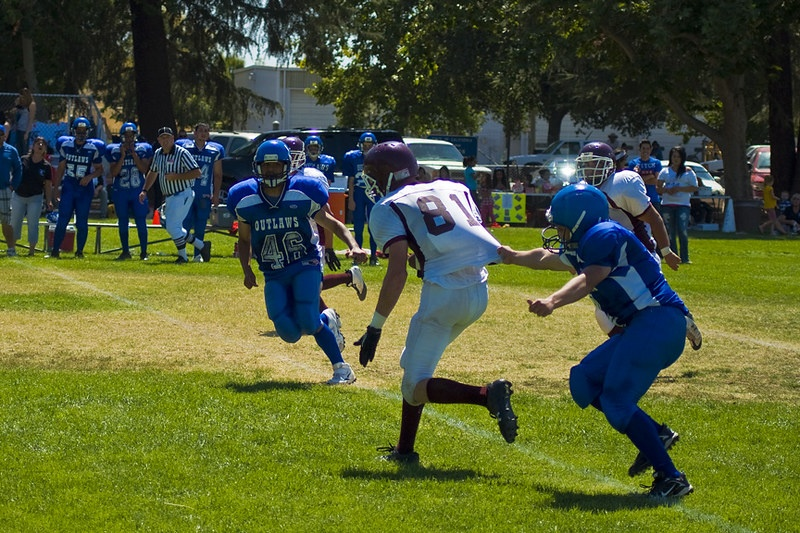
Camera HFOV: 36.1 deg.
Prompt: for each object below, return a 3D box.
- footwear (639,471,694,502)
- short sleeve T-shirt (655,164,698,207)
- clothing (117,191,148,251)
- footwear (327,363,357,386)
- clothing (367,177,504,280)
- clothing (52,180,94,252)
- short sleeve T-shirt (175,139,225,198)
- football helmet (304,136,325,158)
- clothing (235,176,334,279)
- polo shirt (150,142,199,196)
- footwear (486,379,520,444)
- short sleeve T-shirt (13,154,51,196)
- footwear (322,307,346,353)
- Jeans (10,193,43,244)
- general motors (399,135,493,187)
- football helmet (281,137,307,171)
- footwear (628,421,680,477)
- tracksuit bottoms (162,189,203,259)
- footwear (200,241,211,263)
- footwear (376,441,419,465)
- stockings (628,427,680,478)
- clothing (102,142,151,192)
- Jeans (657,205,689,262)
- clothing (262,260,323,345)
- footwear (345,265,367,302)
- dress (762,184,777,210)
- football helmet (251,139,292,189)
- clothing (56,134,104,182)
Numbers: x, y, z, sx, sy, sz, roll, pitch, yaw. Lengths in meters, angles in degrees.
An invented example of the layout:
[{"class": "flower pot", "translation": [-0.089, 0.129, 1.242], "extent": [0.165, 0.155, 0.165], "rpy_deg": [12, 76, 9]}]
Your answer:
[{"class": "footwear", "translation": [3.362, 2.779, 15.378], "extent": [0.704, 0.378, 0.240], "rpy_deg": [-6, 4, -4]}, {"class": "short sleeve T-shirt", "translation": [5.693, -1.671, 25.155], "extent": [0.904, 0.879, 0.472], "rpy_deg": [0, -1, 27]}, {"class": "clothing", "translation": [-5.399, -0.894, 24.528], "extent": [0.655, 1.302, 0.891], "rpy_deg": [0, 3, -14]}, {"class": "footwear", "translation": [-0.827, 1.542, 17.446], "extent": [0.395, 0.286, 0.343], "rpy_deg": [1, 3, -2]}, {"class": "clothing", "translation": [0.187, -0.332, 16.114], "extent": [1.625, 0.870, 1.242], "rpy_deg": [15, 17, 16]}, {"class": "clothing", "translation": [-6.472, -0.966, 24.295], "extent": [0.834, 1.464, 0.601], "rpy_deg": [2, 3, 10]}, {"class": "short sleeve T-shirt", "translation": [-3.945, -1.908, 23.949], "extent": [1.265, 1.274, 0.672], "rpy_deg": [2, 0, -31]}, {"class": "football helmet", "translation": [-1.636, -2.271, 23.333], "extent": [0.322, 0.414, 0.424], "rpy_deg": [0, -1, -5]}, {"class": "clothing", "translation": [-1.665, -0.570, 17.661], "extent": [1.494, 1.458, 0.823], "rpy_deg": [-10, 8, -10]}, {"class": "polo shirt", "translation": [-4.284, -1.880, 23.545], "extent": [0.970, 0.915, 0.534], "rpy_deg": [-4, 10, 10]}, {"class": "footwear", "translation": [1.291, 1.816, 15.565], "extent": [0.300, 0.886, 0.405], "rpy_deg": [-21, 10, -11]}, {"class": "short sleeve T-shirt", "translation": [-7.282, -1.756, 24.199], "extent": [0.818, 0.808, 0.465], "rpy_deg": [16, -5, -20]}, {"class": "footwear", "translation": [-0.943, 0.876, 17.778], "extent": [0.236, 0.723, 0.286], "rpy_deg": [-28, 21, 7]}, {"class": "Jeans", "translation": [-7.426, -0.923, 24.454], "extent": [0.591, 1.068, 0.811], "rpy_deg": [0, 4, -18]}, {"class": "general motors", "translation": [1.376, -3.030, 34.748], "extent": [1.760, 1.414, 3.004], "rpy_deg": [-2, 6, -26]}, {"class": "football helmet", "translation": [-1.590, -1.747, 18.792], "extent": [0.445, 0.536, 0.587], "rpy_deg": [-8, -2, -9]}, {"class": "footwear", "translation": [3.212, 2.355, 15.546], "extent": [0.362, 0.726, 0.246], "rpy_deg": [33, 12, -19]}, {"class": "tracksuit bottoms", "translation": [-4.231, -0.809, 23.801], "extent": [0.478, 1.381, 0.742], "rpy_deg": [2, 3, 16]}, {"class": "footwear", "translation": [-3.879, -0.279, 24.505], "extent": [0.187, 0.413, 0.175], "rpy_deg": [-4, 17, -3]}, {"class": "footwear", "translation": [0.000, 2.481, 15.900], "extent": [0.584, 0.255, 0.198], "rpy_deg": [11, -22, 8]}, {"class": "stockings", "translation": [3.269, 2.499, 15.463], "extent": [0.764, 0.369, 0.259], "rpy_deg": [18, 56, 47]}, {"class": "clothing", "translation": [-5.428, -1.997, 24.447], "extent": [0.861, 0.952, 0.651], "rpy_deg": [2, 3, 5]}, {"class": "Jeans", "translation": [5.658, -0.682, 25.256], "extent": [0.513, 1.468, 0.358], "rpy_deg": [0, -8, -10]}, {"class": "clothing", "translation": [-1.526, 0.507, 17.681], "extent": [0.627, 0.883, 1.941], "rpy_deg": [-11, -9, -10]}, {"class": "footwear", "translation": [-0.654, 0.278, 18.687], "extent": [0.196, 0.603, 0.260], "rpy_deg": [9, 43, 36]}, {"class": "dress", "translation": [10.074, -1.874, 33.315], "extent": [0.328, 0.640, 0.871], "rpy_deg": [2, 4, 15]}, {"class": "football helmet", "translation": [-1.815, -1.496, 17.649], "extent": [0.489, 0.568, 0.659], "rpy_deg": [-1, 6, -1]}, {"class": "clothing", "translation": [-6.344, -2.068, 24.235], "extent": [1.032, 1.007, 0.544], "rpy_deg": [6, 2, -13]}]
